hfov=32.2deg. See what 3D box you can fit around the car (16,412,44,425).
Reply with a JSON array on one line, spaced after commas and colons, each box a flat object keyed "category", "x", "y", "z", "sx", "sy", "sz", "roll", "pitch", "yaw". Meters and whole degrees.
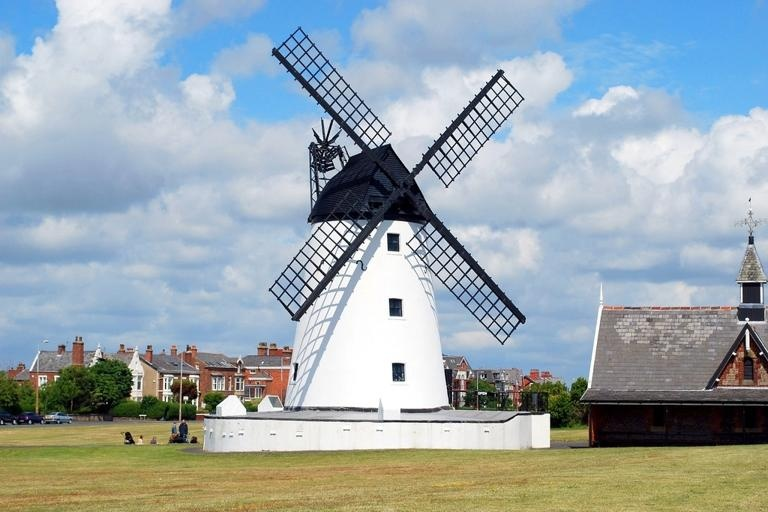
[{"category": "car", "x": -31.611, "y": 14.657, "z": 119.220, "sx": 1.488, "sy": 0.971, "sz": 3.154, "roll": 1, "pitch": -2, "yaw": -15}]
